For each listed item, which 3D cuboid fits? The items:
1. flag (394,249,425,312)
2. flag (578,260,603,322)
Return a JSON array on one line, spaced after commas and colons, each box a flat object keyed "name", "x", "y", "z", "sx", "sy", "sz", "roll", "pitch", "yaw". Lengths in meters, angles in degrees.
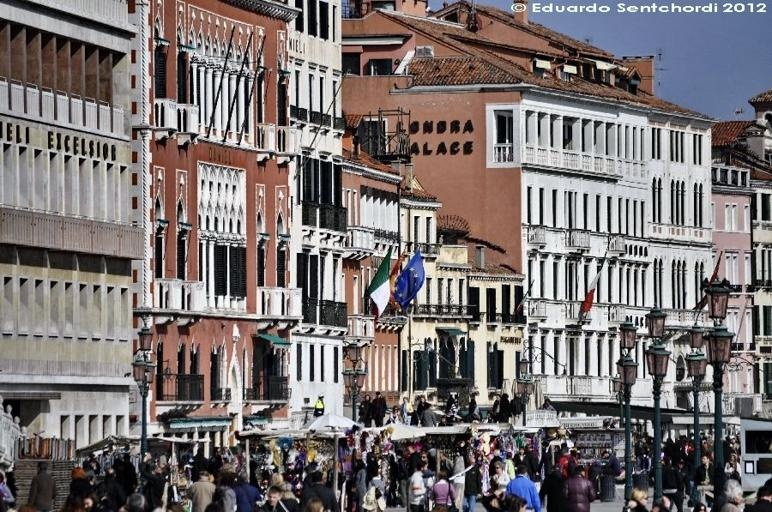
[{"name": "flag", "x": 1.197, "y": 1.346, "z": 124.511, "sx": 1.160, "sy": 3.223, "sz": 1.849, "roll": -5, "pitch": -12, "yaw": 14}, {"name": "flag", "x": 12.203, "y": 2.358, "z": 146.839, "sx": 1.495, "sy": 3.693, "sz": 4.046, "roll": -3, "pitch": -12, "yaw": 6}]
